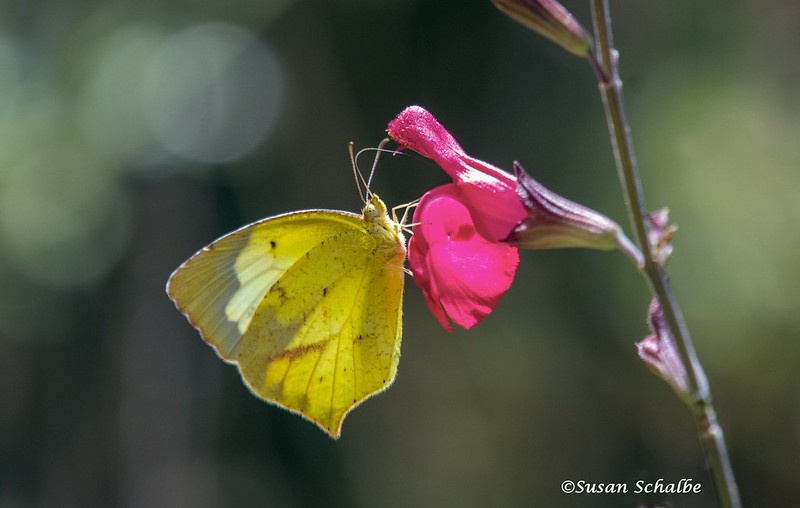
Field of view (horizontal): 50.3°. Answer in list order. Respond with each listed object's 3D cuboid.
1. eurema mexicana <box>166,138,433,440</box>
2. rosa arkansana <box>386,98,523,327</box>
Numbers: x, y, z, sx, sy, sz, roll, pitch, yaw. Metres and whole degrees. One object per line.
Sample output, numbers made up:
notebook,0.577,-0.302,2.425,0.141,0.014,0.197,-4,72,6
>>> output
eurema mexicana,-0.543,0.373,5.126,1.434,1.059,0.800,-23,39,0
rosa arkansana,0.323,-0.168,4.853,0.668,0.549,1.321,-8,74,-7
